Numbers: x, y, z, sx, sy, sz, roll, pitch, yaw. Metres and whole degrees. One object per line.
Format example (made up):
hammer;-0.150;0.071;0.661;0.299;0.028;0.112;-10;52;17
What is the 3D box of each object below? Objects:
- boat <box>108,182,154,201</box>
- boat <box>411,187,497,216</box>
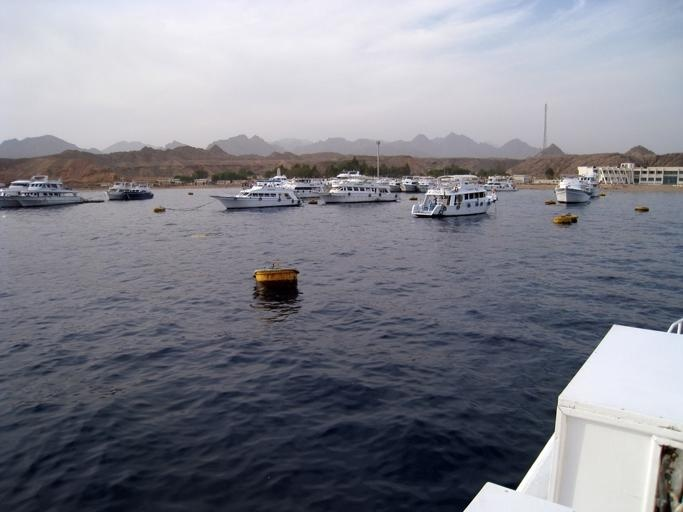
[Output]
boat;-54.524;-16.220;119.861;5.575;4.234;11.542;10;14;37
boat;17.704;-8.259;68.292;13.592;3.451;4.581;-11;17;-31
